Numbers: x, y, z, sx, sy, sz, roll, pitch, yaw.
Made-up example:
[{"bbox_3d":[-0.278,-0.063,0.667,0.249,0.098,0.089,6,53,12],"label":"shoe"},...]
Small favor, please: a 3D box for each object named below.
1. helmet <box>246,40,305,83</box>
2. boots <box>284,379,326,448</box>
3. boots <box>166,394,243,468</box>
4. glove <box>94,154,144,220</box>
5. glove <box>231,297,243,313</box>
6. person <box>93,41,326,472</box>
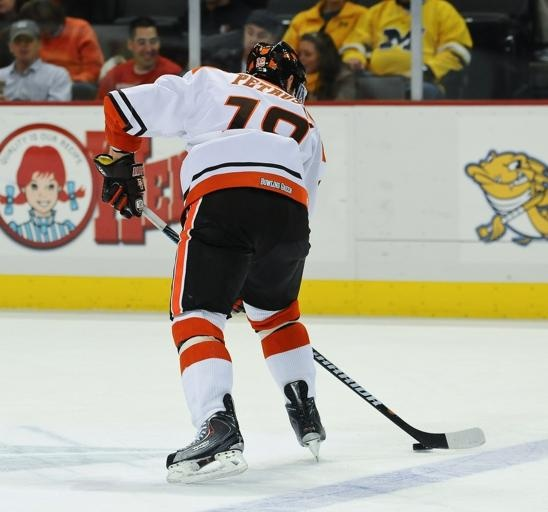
[{"bbox_3d":[0.004,-0.716,3.380,0.204,0.163,0.159,-3,1,-21],"label":"helmet"},{"bbox_3d":[0.095,0.553,3.245,0.097,0.254,0.118,-22,-37,6],"label":"boots"},{"bbox_3d":[-0.199,0.562,2.846,0.232,0.198,0.129,-8,13,-38],"label":"boots"},{"bbox_3d":[-0.586,-0.286,3.522,0.187,0.234,0.180,-14,17,-11],"label":"glove"},{"bbox_3d":[-0.138,0.180,3.364,0.028,0.026,0.070,5,-26,-6],"label":"glove"},{"bbox_3d":[-0.189,0.006,3.152,0.790,1.318,0.913,-2,11,-13],"label":"person"}]
